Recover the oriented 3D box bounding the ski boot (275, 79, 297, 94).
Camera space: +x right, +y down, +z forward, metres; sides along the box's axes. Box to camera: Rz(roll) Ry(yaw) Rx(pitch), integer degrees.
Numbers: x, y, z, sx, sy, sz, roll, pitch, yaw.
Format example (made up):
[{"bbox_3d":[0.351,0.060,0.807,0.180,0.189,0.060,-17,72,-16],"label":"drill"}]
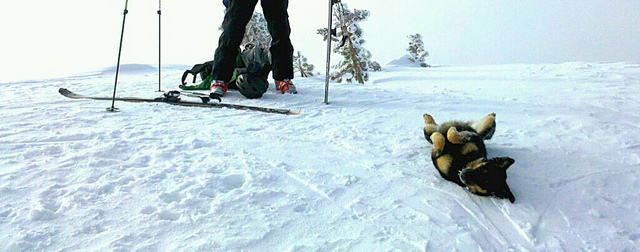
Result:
[{"bbox_3d":[-0.912,-1.051,8.913,0.316,0.250,0.712,-4,8,-27],"label":"ski boot"}]
